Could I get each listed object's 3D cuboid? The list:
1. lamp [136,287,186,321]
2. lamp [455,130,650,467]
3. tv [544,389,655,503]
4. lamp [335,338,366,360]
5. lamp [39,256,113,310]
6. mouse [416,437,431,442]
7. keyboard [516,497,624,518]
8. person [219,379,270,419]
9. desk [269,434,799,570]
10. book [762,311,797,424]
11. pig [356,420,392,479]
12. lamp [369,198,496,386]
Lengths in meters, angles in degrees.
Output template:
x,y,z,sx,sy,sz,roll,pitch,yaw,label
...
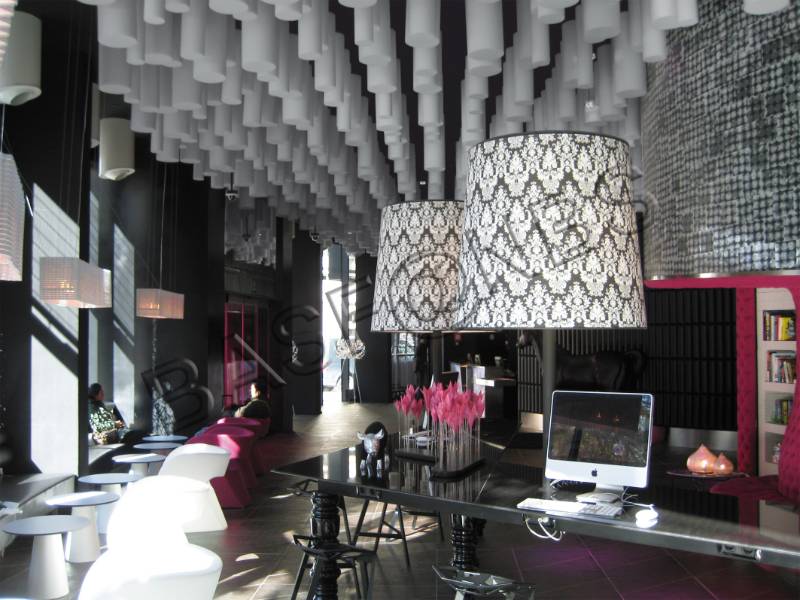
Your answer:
x,y,z,sx,sy,sz,roll,pitch,yaw,label
-3.381,0.053,9.298,0.295,0.384,0.787,-1,-6,11,lamp
0.738,-0.269,3.334,0.880,1.753,0.995,1,-4,5,lamp
1.124,0.830,3.710,0.498,0.541,0.184,1,-17,27,tv
-1.452,1.445,19.546,0.891,0.581,0.536,1,-6,-7,lamp
-3.106,-0.157,6.305,0.335,0.422,0.690,0,-6,3,lamp
0.173,1.029,4.865,0.056,0.037,0.058,-5,-6,39,mouse
0.887,1.081,3.430,0.532,0.048,0.230,-2,-6,18,keyboard
-2.483,1.689,10.790,0.677,0.820,0.554,0,-1,20,person
0.676,1.123,3.804,2.799,0.290,0.784,-3,-7,30,desk
4.632,0.812,7.944,0.283,1.391,0.562,0,-5,6,book
-0.176,0.988,4.539,0.153,0.269,0.509,-7,3,5,pig
0.208,-0.286,4.673,0.814,1.074,0.882,1,-3,6,lamp
